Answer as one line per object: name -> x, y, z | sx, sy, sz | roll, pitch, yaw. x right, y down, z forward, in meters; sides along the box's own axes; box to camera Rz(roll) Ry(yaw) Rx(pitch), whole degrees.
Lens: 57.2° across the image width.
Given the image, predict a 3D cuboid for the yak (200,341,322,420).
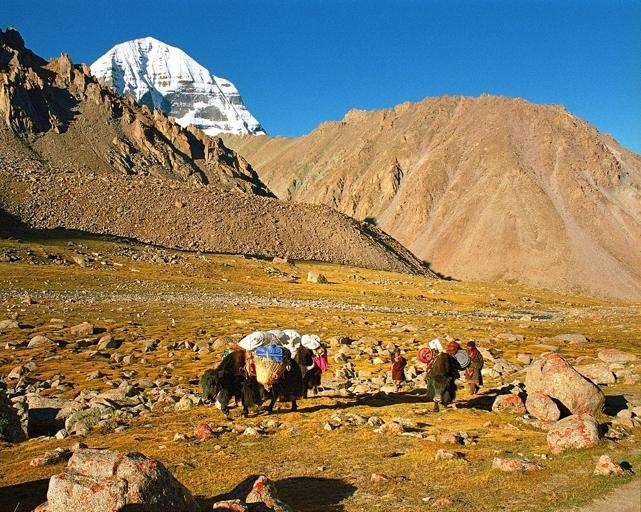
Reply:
yak -> -1.696, 3.121, 15.404 | 3.649, 1.810, 1.356 | 3, -7, -17
